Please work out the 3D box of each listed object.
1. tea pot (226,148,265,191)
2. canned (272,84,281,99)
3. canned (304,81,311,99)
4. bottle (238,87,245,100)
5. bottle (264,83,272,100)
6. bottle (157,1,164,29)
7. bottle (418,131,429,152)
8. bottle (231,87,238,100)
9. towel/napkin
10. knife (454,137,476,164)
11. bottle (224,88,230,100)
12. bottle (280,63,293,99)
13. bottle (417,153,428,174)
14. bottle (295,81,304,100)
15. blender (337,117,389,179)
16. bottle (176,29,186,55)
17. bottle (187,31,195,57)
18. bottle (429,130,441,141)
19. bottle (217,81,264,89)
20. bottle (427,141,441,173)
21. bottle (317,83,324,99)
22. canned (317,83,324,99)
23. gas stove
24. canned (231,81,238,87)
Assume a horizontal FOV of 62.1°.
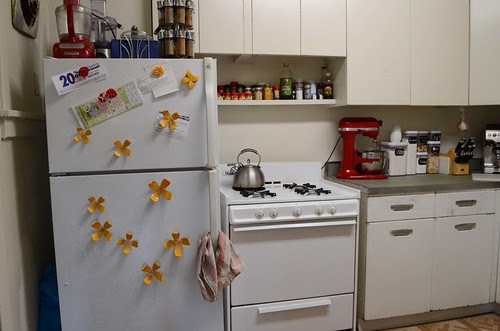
[{"bbox_3d":[-0.028,0.031,3.407,0.309,0.325,0.226,-2,10,13],"label":"tea pot"},{"bbox_3d":[0.225,-0.630,3.588,0.094,0.166,0.098,2,13,9],"label":"canned"},{"bbox_3d":[0.500,-0.661,3.641,0.072,0.148,0.031,-1,11,-8],"label":"canned"},{"bbox_3d":[-0.073,-0.621,3.541,0.060,0.114,0.067,-1,11,-7],"label":"bottle"},{"bbox_3d":[0.158,-0.635,3.590,0.075,0.128,0.080,0,11,0],"label":"bottle"},{"bbox_3d":[-0.601,-0.992,2.767,0.053,0.184,0.157,-3,12,-17],"label":"bottle"},{"bbox_3d":[1.591,-0.221,3.826,0.134,0.189,0.047,-6,13,-31],"label":"bottle"},{"bbox_3d":[-0.133,-0.616,3.537,0.057,0.106,0.048,-2,11,-11],"label":"bottle"},{"bbox_3d":[-0.187,0.649,2.714,0.326,0.100,0.445,7,55,-8],"label":"towel/napkin"},{"bbox_3d":[1.936,-0.130,3.770,0.166,0.240,0.055,1,16,-1],"label":"knife"},{"bbox_3d":[-0.199,-0.606,3.526,0.055,0.081,0.032,2,11,11],"label":"bottle"},{"bbox_3d":[0.313,-0.743,3.641,0.114,0.317,0.196,1,11,4],"label":"bottle"},{"bbox_3d":[1.574,-0.022,3.831,0.103,0.198,0.037,-2,11,-13],"label":"bottle"},{"bbox_3d":[0.430,-0.654,3.616,0.082,0.151,0.063,-1,11,-9],"label":"bottle"},{"bbox_3d":[0.994,-0.156,3.695,0.433,0.529,0.307,3,11,11],"label":"blender"},{"bbox_3d":[-0.452,-0.796,2.707,0.066,0.166,0.032,-2,11,-10],"label":"bottle"},{"bbox_3d":[-0.393,-0.796,2.729,0.061,0.169,0.030,-8,14,-38],"label":"bottle"},{"bbox_3d":[1.695,-0.273,3.821,0.089,0.096,0.094,1,15,12],"label":"bottle"},{"bbox_3d":[-0.098,-0.693,3.587,0.333,0.084,0.078,-3,6,-21],"label":"bottle"},{"bbox_3d":[1.698,-0.077,3.867,0.122,0.296,0.067,2,11,10],"label":"bottle"},{"bbox_3d":[0.615,-0.653,3.675,0.052,0.127,0.079,-5,12,-27],"label":"bottle"},{"bbox_3d":[0.615,-0.653,3.675,0.052,0.127,0.079,-5,12,-27],"label":"canned"},{"bbox_3d":[0.292,0.190,3.368,1.046,0.063,0.538,-1,12,-6],"label":"gas stove"},{"bbox_3d":[-0.137,-0.690,3.546,0.048,0.048,0.050,3,5,17],"label":"canned"}]
